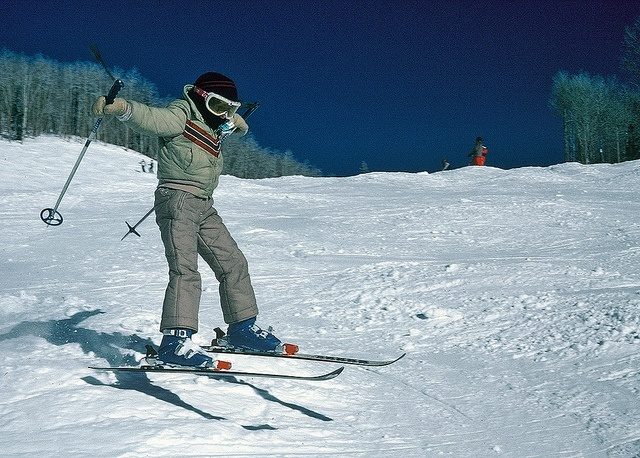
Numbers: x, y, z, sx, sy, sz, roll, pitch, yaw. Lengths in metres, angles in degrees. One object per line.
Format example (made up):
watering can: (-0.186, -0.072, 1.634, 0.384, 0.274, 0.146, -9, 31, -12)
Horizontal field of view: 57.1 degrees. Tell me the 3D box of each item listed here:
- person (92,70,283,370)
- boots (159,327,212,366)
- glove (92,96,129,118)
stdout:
person: (-1.097, -0.066, 5.255, 1.515, 2.681, 1.275, 3, 17, -15)
boots: (-1.057, 1.004, 5.064, 0.771, 0.260, 0.254, 0, 0, 39)
glove: (-1.768, -1.031, 4.949, 0.257, 0.170, 0.249, -1, 13, -21)
